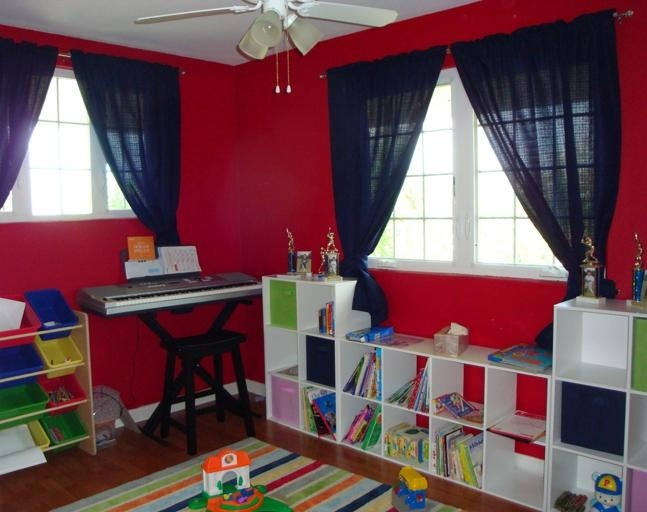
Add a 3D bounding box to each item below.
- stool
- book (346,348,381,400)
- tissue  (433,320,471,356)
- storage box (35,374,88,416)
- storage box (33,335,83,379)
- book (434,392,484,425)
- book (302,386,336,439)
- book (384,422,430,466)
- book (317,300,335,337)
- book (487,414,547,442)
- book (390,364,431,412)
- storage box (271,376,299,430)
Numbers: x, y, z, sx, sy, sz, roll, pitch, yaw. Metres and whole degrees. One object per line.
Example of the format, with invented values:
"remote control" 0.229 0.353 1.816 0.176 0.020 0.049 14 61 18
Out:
"stool" -0.953 0.954 4.411 0.772 1.208 0.774 -2 -2 -43
"book" 0.309 0.884 3.991 0.104 0.333 0.302 19 -12 -28
"tissue " 0.862 0.541 3.712 0.167 0.182 0.272 5 9 30
"storage box" -1.894 0.992 3.953 0.226 0.126 0.326 -6 19 -37
"storage box" -1.911 0.720 3.936 0.226 0.158 0.346 -13 36 -37
"book" 0.927 0.999 3.702 0.317 0.115 0.360 2 10 19
"book" -0.006 1.197 4.179 0.279 0.323 0.071 9 -16 -20
"book" 0.616 1.316 3.887 0.218 0.157 0.227 3 4 35
"book" 0.025 0.488 4.209 0.179 0.272 0.259 0 1 -11
"book" 1.260 1.103 3.470 0.304 0.078 0.349 6 12 39
"book" 0.632 0.908 3.767 0.229 0.106 0.318 -3 -2 37
"storage box" -0.304 1.191 4.435 0.126 0.445 0.367 -2 4 -41
